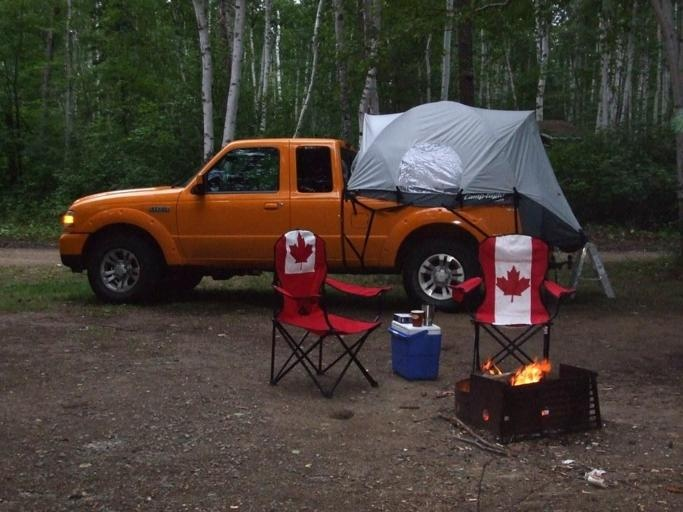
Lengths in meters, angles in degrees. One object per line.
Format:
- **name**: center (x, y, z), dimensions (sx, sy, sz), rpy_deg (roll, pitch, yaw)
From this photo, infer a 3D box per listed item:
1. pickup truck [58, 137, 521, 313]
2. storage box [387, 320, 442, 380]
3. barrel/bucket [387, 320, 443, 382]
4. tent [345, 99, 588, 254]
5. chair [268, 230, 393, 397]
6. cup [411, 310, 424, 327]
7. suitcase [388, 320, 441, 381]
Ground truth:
- **pickup truck**: center (-0.683, -0.450, 12.769), dimensions (6.546, 2.533, 2.893), rpy_deg (2, 0, 4)
- **storage box**: center (0.853, 1.092, 9.439), dimensions (0.636, 0.666, 0.579), rpy_deg (-1, 5, -9)
- **barrel/bucket**: center (0.874, 1.094, 9.380), dimensions (0.542, 0.596, 0.810), rpy_deg (1, -1, -8)
- **tent**: center (1.847, -1.200, 11.769), dimensions (3.139, 2.159, 0.874), rpy_deg (0, 6, 4)
- **chair**: center (-0.221, 0.549, 9.296), dimensions (1.321, 1.975, 1.240), rpy_deg (4, 7, 39)
- **cup**: center (0.888, 0.731, 9.261), dimensions (0.119, 0.178, 0.178), rpy_deg (0, -4, -3)
- **suitcase**: center (0.884, 1.133, 9.479), dimensions (0.529, 0.608, 0.776), rpy_deg (1, 0, -11)
